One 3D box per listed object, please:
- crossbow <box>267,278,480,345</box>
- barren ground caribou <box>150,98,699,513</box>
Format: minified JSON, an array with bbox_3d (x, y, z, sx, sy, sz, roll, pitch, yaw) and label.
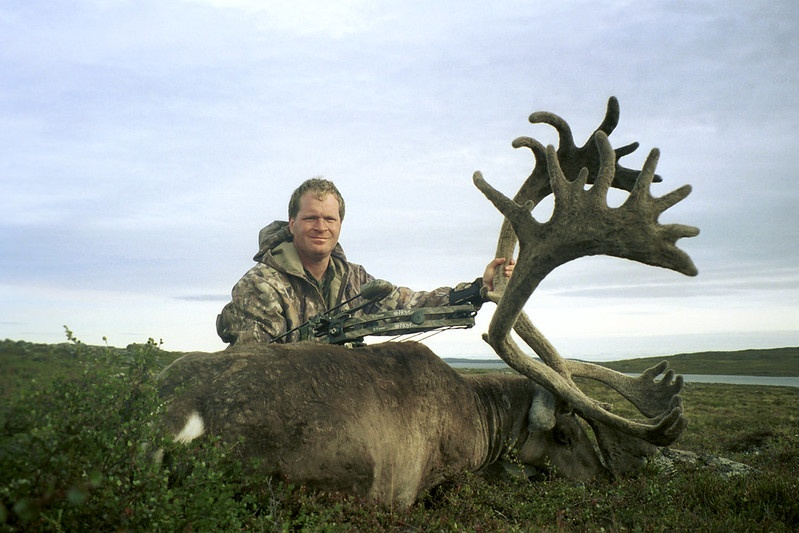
[{"bbox_3d":[-0.803,0.798,9.668,4.164,1.160,0.787,-6,17,-5],"label":"crossbow"},{"bbox_3d":[0.701,0.499,8.452,6.615,5.609,2.781,1,-4,-6],"label":"barren ground caribou"}]
